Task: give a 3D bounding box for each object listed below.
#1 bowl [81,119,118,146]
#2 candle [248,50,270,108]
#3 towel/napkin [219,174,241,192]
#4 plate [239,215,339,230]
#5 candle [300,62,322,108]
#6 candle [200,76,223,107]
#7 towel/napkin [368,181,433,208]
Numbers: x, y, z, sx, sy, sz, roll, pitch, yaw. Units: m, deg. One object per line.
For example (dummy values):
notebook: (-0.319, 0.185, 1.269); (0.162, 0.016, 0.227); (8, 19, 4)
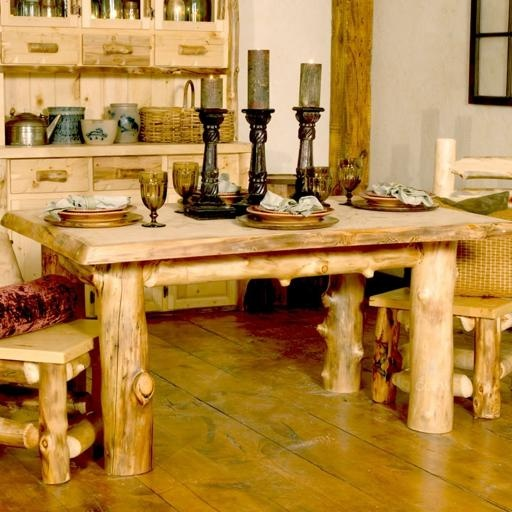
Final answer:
bowl: (-0.976, -0.767, 3.383); (0.189, 0.115, 0.185); (0, 2, 0)
candle: (0.008, -0.586, 1.824); (0.070, 0.185, 0.095); (0, 8, -2)
towel/napkin: (-0.120, -0.290, 2.205); (0.057, 0.071, 0.172); (-9, 10, -25)
plate: (0.102, -0.105, 1.710); (0.319, 0.035, 0.229); (0, 7, -3)
candle: (0.196, -0.619, 1.961); (0.072, 0.183, 0.192); (1, 7, 5)
candle: (-0.145, -0.524, 1.763); (0.067, 0.102, 0.074); (-1, 8, -6)
towel/napkin: (0.564, -0.234, 2.082); (0.152, 0.036, 0.145); (14, 14, 5)
